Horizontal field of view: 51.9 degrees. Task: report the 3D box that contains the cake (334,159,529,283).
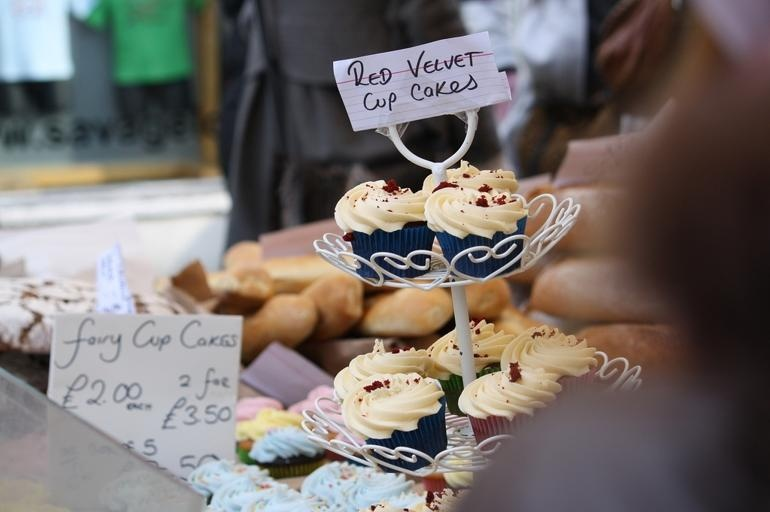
[{"bbox_3d":[0.079,-0.052,1.276,0.270,0.126,0.173,-8,23,13],"label":"cake"}]
